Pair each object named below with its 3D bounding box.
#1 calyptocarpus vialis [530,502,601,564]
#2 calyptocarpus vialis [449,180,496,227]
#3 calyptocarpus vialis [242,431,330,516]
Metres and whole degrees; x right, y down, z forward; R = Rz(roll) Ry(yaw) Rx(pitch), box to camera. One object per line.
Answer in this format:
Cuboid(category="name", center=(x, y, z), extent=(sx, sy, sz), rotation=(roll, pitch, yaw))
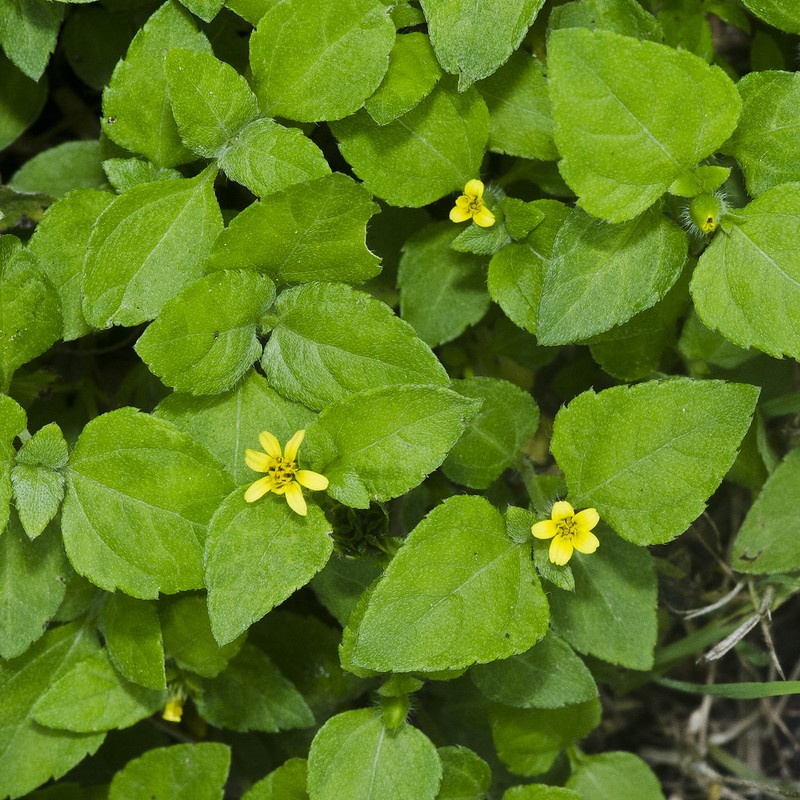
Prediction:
Cuboid(category="calyptocarpus vialis", center=(0.332, 0.253, 1.641), extent=(0.143, 0.048, 0.177), rotation=(10, 24, -8))
Cuboid(category="calyptocarpus vialis", center=(0.157, -0.426, 1.791), extent=(0.096, 0.100, 0.082), rotation=(-10, -17, 1))
Cuboid(category="calyptocarpus vialis", center=(-0.217, 0.139, 1.583), extent=(0.156, 0.158, 0.041), rotation=(-3, -15, 3))
